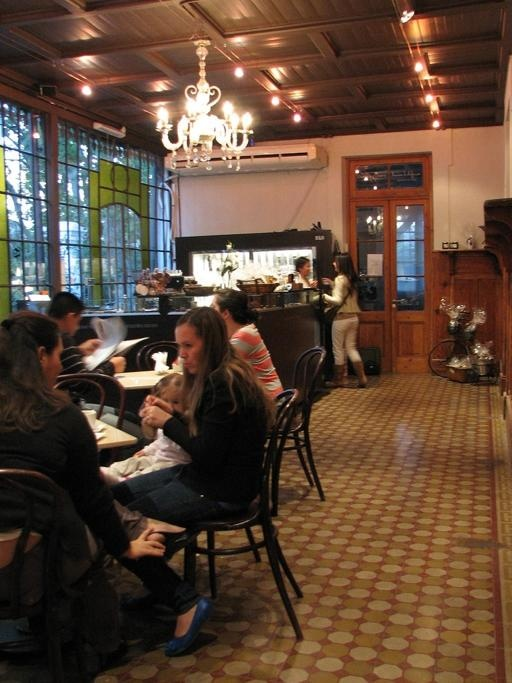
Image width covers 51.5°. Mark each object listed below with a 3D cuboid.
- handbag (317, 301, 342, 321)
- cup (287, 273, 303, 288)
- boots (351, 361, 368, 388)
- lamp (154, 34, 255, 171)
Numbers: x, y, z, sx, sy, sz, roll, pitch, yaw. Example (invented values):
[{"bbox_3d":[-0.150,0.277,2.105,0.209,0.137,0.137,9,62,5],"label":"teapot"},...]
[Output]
[{"bbox_3d":[1.100,-0.448,8.012,0.325,0.291,0.242,0,1,5],"label":"handbag"},{"bbox_3d":[0.512,-0.789,6.901,0.128,0.168,0.471,-1,1,13],"label":"cup"},{"bbox_3d":[1.599,0.501,8.120,0.185,0.299,0.314,-1,1,9],"label":"boots"},{"bbox_3d":[-0.524,-2.416,5.378,0.975,1.199,0.962,-2,8,-5],"label":"lamp"}]
